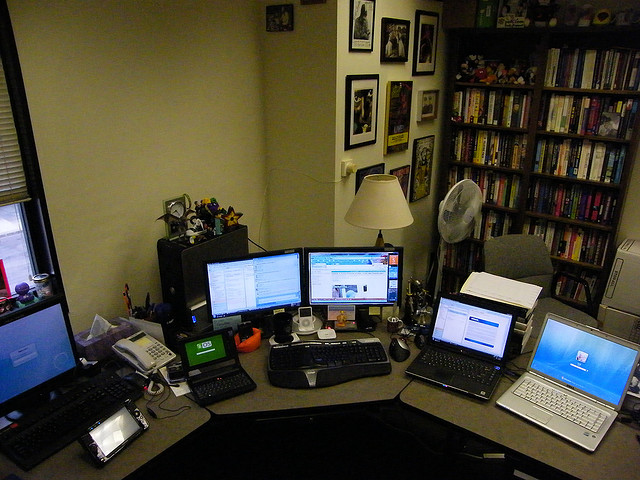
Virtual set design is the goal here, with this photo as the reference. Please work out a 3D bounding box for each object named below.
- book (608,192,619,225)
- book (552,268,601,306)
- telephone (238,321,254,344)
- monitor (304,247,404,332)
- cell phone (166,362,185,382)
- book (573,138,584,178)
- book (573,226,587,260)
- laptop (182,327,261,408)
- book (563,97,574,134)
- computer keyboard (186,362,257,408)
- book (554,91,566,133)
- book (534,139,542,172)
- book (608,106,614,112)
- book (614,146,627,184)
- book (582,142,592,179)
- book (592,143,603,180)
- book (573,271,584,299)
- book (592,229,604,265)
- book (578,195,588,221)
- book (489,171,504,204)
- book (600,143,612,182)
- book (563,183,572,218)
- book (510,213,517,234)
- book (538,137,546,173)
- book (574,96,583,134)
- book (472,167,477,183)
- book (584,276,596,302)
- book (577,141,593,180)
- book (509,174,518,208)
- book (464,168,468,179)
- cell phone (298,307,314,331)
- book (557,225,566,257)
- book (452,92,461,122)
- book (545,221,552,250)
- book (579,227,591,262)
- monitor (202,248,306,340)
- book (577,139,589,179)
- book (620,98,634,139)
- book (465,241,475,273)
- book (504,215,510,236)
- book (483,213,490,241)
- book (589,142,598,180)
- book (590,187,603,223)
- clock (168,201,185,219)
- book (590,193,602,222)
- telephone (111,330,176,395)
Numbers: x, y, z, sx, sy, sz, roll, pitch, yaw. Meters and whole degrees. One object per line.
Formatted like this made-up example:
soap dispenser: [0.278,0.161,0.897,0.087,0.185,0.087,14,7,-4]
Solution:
book: [2.478,-0.260,4.127,0.042,0.263,0.126,13,27,30]
book: [2.235,0.406,4.232,0.232,0.328,0.246,15,24,34]
telephone: [-0.449,0.560,2.992,0.079,0.115,0.033,-11,7,-22]
monitor: [0.203,0.304,3.147,0.503,0.440,0.212,1,10,1]
cell phone: [-0.832,0.752,2.801,0.096,0.061,0.109,-8,25,-18]
book: [2.217,-0.716,4.191,0.031,0.316,0.251,7,19,22]
book: [2.305,0.014,4.330,0.033,0.188,0.246,7,56,18]
laptop: [-0.575,0.684,2.758,0.423,0.249,0.422,10,18,31]
book: [2.113,-1.056,4.152,0.042,0.284,0.045,-20,30,-38]
computer keyboard: [-0.554,0.803,2.753,0.354,0.080,0.216,-10,25,-22]
book: [2.057,-1.108,4.188,0.041,0.306,0.231,9,31,20]
book: [1.951,-0.768,4.372,0.025,0.242,0.191,8,33,18]
book: [2.364,-1.062,3.972,0.053,0.052,0.014,2,-1,18]
book: [2.475,-0.610,4.031,0.048,0.214,0.211,17,14,21]
book: [2.271,-0.688,4.152,0.029,0.284,0.224,10,24,15]
book: [2.336,-0.672,4.111,0.028,0.272,0.214,10,27,20]
book: [2.317,0.405,4.383,0.025,0.233,0.094,18,29,37]
book: [2.425,0.062,4.257,0.038,0.284,0.083,12,26,27]
book: [2.289,-0.281,4.264,0.050,0.209,0.046,12,26,27]
book: [1.690,-0.515,4.678,0.126,0.237,0.243,6,19,14]
book: [2.389,-0.662,4.080,0.027,0.286,0.228,14,28,20]
book: [2.191,-0.346,4.337,0.048,0.274,0.078,11,26,25]
book: [1.847,-0.157,4.661,0.041,0.200,0.125,8,25,21]
book: [1.981,-0.767,4.359,0.029,0.287,0.206,7,27,20]
book: [2.176,-1.062,4.118,0.036,0.260,0.225,9,29,19]
book: [1.503,-0.641,4.775,0.020,0.087,0.083,6,2,9]
book: [2.282,0.412,4.125,0.046,0.200,0.197,10,3,16]
book: [2.247,-0.682,4.171,0.056,0.242,0.235,12,5,26]
book: [1.815,-0.458,4.597,0.045,0.300,0.062,8,25,20]
book: [1.437,-0.660,4.813,0.041,0.090,0.022,10,25,23]
cell phone: [-0.094,0.510,3.173,0.120,0.174,0.126,-3,-3,-8]
book: [2.184,0.006,4.421,0.032,0.268,0.065,11,26,26]
book: [1.299,-1.272,4.651,0.036,0.263,0.199,8,20,26]
book: [2.091,-0.064,4.479,0.036,0.223,0.052,11,26,25]
book: [2.341,0.037,4.320,0.053,0.296,0.070,12,26,27]
monitor: [-0.393,0.338,3.106,0.619,0.551,0.247,-7,15,-16]
book: [2.247,-0.703,4.168,0.030,0.293,0.230,10,28,20]
book: [2.467,-0.969,3.927,0.041,0.297,0.052,13,27,29]
book: [1.507,0.148,4.900,0.080,0.229,0.247,5,66,6]
book: [1.804,-0.152,4.716,0.032,0.179,0.032,13,27,29]
book: [1.626,-0.142,4.771,0.037,0.299,0.225,9,12,15]
book: [2.309,-0.678,4.125,0.035,0.247,0.213,10,33,20]
book: [2.372,-0.288,4.194,0.054,0.227,0.225,12,1,24]
clock: [-0.940,-0.196,3.199,0.032,0.113,0.127,12,26,27]
book: [2.371,-0.289,4.200,0.088,0.166,0.168,14,39,23]
telephone: [-0.999,0.686,2.867,0.438,0.111,0.278,31,31,32]
